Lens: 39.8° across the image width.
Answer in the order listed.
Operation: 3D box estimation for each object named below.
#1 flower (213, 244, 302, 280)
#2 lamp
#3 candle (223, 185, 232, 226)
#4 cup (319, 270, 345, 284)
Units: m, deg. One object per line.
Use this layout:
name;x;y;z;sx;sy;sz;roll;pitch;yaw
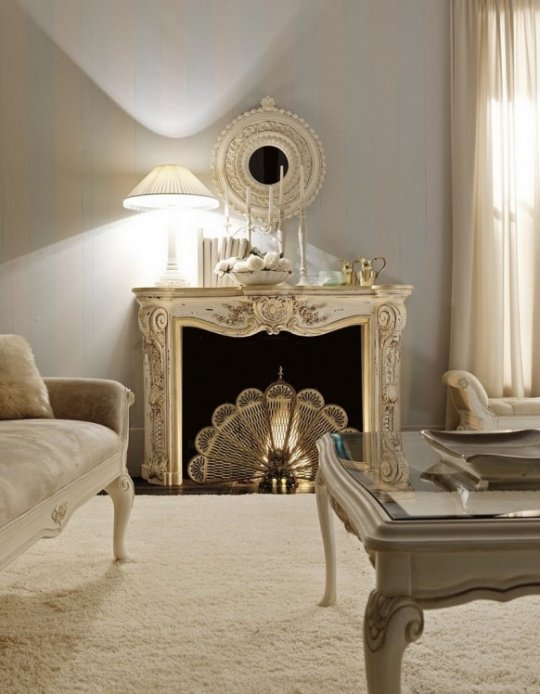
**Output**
flower;-0.075;-0.388;3.394;0.225;0.101;0.218;-1;-1;-33
lamp;-0.448;-0.559;3.476;0.463;0.550;0.441;-1;6;-11
candle;-0.212;-0.675;3.631;0.049;0.226;0.110;0;6;-3
cup;0.285;-0.319;3.439;0.069;0.049;0.071;1;5;0
